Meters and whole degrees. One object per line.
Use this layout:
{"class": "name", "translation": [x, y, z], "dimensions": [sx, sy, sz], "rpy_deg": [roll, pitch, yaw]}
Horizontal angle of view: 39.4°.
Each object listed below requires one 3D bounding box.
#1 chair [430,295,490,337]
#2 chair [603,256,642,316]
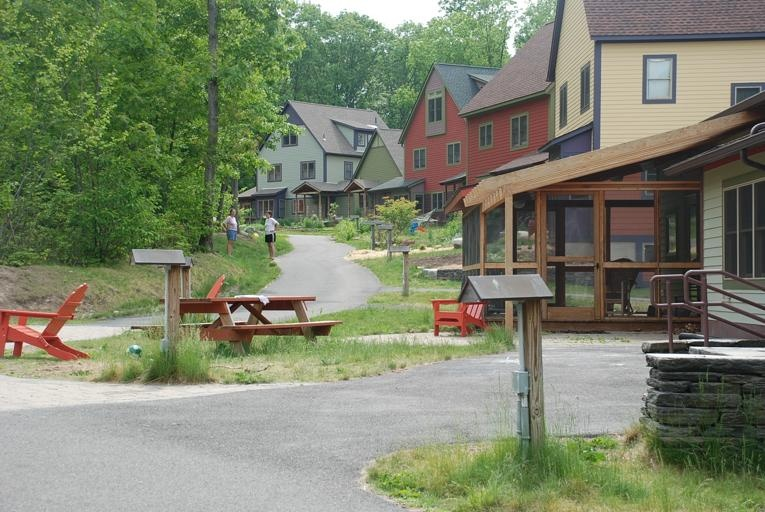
{"class": "chair", "translation": [2.230, 1.729, 30.159], "dimensions": [1.162, 1.062, 1.435], "rpy_deg": [-8, -7, 43]}
{"class": "chair", "translation": [6.742, 0.929, 30.183], "dimensions": [1.163, 1.562, 1.218], "rpy_deg": [0, -5, 14]}
